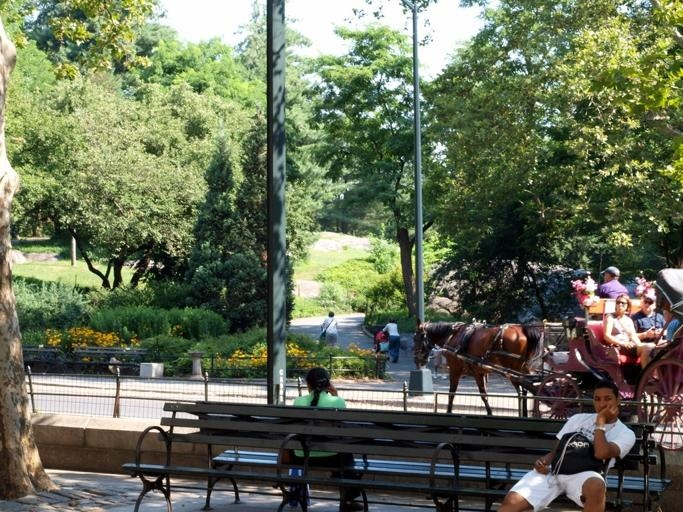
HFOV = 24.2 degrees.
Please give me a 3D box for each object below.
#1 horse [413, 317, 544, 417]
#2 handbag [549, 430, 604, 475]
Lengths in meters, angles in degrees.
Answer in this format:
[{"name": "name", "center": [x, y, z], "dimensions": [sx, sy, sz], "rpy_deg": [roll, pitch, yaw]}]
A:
[{"name": "horse", "center": [5.043, 3.980, 57.927], "dimensions": [1.717, 3.546, 6.131], "rpy_deg": [10, -11, -43]}, {"name": "handbag", "center": [7.229, 6.065, 49.359], "dimensions": [1.143, 1.420, 1.438], "rpy_deg": [-9, -10, 38]}]
